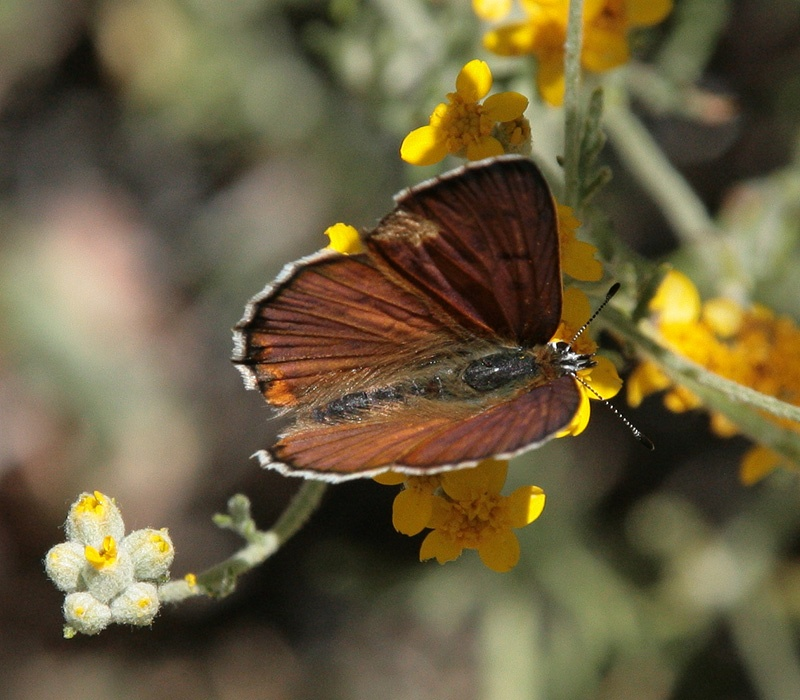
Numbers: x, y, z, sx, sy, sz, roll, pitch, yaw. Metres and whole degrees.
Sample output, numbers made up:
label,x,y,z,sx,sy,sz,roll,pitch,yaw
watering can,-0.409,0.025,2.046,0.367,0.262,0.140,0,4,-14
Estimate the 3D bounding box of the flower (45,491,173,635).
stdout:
label,x,y,z,sx,sy,sz,roll,pitch,yaw
flower,-1.162,0.892,4.084,0.474,0.488,0.580,0,81,4
